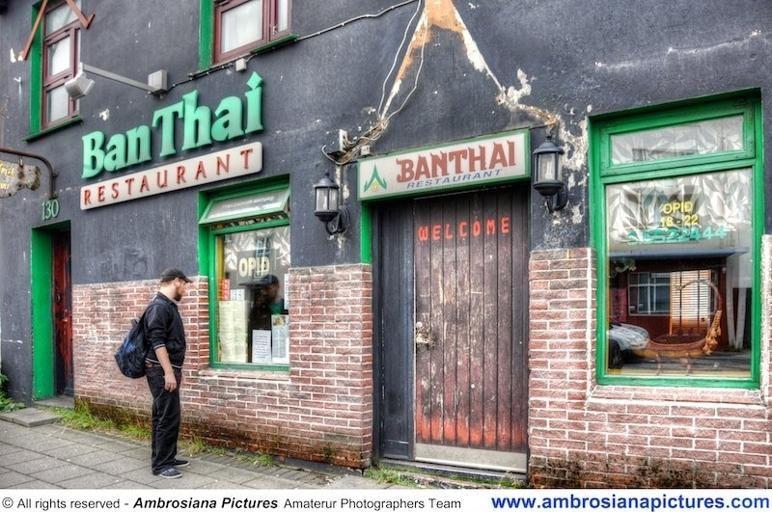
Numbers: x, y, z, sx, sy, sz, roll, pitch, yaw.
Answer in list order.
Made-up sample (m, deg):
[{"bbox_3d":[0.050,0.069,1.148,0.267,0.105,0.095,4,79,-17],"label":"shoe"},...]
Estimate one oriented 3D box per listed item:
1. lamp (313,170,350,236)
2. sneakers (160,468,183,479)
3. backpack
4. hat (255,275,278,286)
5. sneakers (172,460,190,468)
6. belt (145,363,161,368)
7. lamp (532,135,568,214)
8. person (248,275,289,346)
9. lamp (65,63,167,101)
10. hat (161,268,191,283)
[{"bbox_3d":[-0.732,-0.653,9.758,0.427,0.827,0.325,-12,14,-28],"label":"lamp"},{"bbox_3d":[-2.709,2.699,9.602,0.219,0.086,0.121,1,-4,3],"label":"sneakers"},{"bbox_3d":[-3.174,1.091,9.673,0.510,0.923,0.313,-10,13,-19],"label":"backpack"},{"bbox_3d":[-1.636,0.327,10.617,0.380,0.163,0.065,4,16,39],"label":"hat"},{"bbox_3d":[-2.660,2.668,9.907,0.195,0.076,0.076,1,-4,-17],"label":"sneakers"},{"bbox_3d":[-2.931,1.357,9.592,0.096,0.092,0.097,0,-6,20],"label":"belt"},{"bbox_3d":[1.835,-0.927,8.655,0.389,0.883,0.401,-3,12,11],"label":"lamp"},{"bbox_3d":[-1.631,0.733,10.613,0.677,0.950,0.233,1,13,27],"label":"person"},{"bbox_3d":[-4.003,-2.581,11.350,1.252,0.606,0.710,-6,6,-40],"label":"lamp"},{"bbox_3d":[-2.736,0.241,9.884,0.298,0.151,0.191,-1,0,-43],"label":"hat"}]
